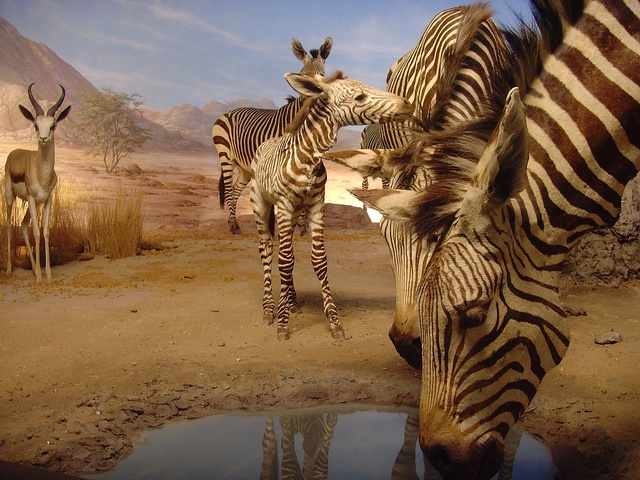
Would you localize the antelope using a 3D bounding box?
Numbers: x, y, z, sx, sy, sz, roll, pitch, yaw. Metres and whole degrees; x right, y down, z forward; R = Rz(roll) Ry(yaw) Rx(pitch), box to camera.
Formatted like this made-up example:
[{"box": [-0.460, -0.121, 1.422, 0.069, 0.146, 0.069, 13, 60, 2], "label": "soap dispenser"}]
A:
[{"box": [-3.534, -0.786, 7.392, 0.718, 2.888, 0.698, -10, 23, -33], "label": "antelope"}]
